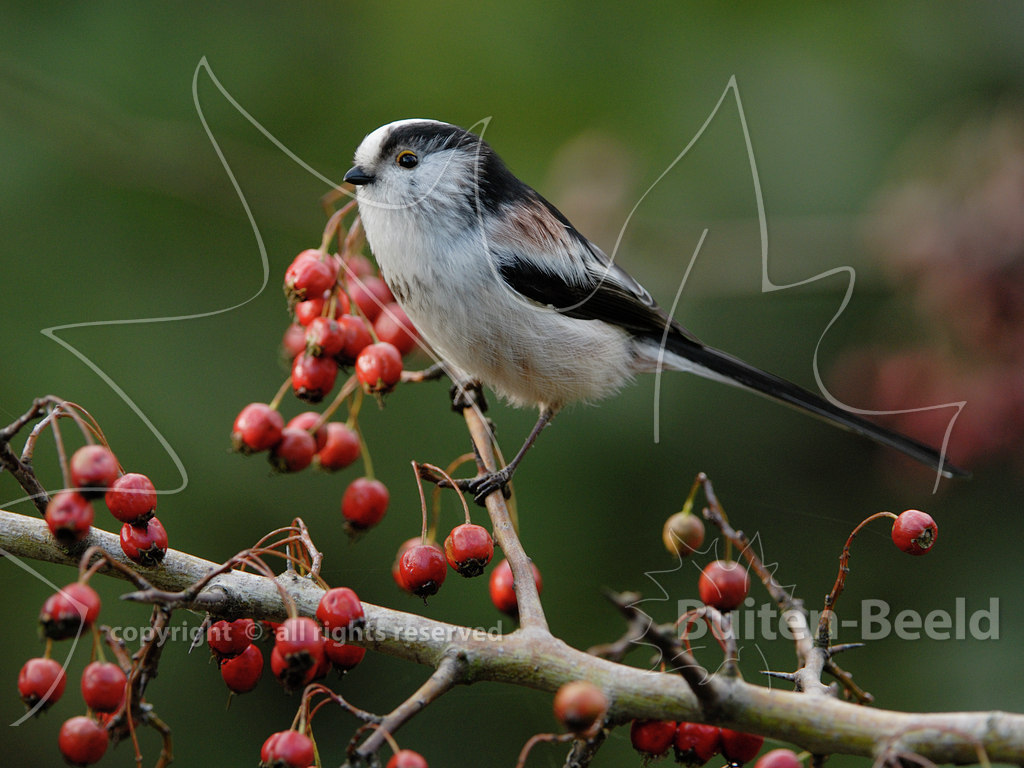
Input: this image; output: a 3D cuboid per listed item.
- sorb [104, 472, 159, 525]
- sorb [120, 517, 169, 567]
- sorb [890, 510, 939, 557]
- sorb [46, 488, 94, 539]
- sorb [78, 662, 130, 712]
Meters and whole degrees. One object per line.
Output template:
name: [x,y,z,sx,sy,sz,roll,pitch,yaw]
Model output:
sorb: [-1.249,0.366,3.744,0.150,0.197,0.155,-3,3,-38]
sorb: [-1.219,0.534,3.768,0.122,0.167,0.140,-27,-50,-17]
sorb: [1.425,0.527,4.067,0.127,0.147,0.167,-29,28,-24]
sorb: [-1.405,0.423,3.578,0.134,0.183,0.141,6,-2,9]
sorb: [-1.319,0.967,3.667,0.134,0.181,0.143,3,-6,-16]
